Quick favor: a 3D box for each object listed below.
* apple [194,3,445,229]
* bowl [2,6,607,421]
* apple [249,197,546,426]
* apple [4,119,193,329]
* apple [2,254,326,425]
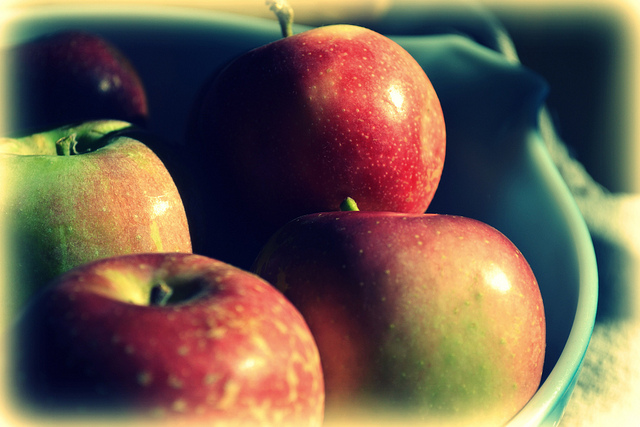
[{"bbox_3d":[0.004,-0.126,0.997,0.407,0.225,0.249,-12,48,-9],"label":"apple"},{"bbox_3d":[-0.081,0.031,0.891,0.807,0.344,0.759,-5,4,0],"label":"bowl"},{"bbox_3d":[0.106,0.112,0.940,0.287,0.312,0.293,-9,2,-20],"label":"apple"},{"bbox_3d":[-0.350,-0.002,1.057,0.290,0.279,0.291,-20,19,-18],"label":"apple"},{"bbox_3d":[-0.188,0.157,0.764,0.245,0.241,0.253,-7,9,-4],"label":"apple"}]
